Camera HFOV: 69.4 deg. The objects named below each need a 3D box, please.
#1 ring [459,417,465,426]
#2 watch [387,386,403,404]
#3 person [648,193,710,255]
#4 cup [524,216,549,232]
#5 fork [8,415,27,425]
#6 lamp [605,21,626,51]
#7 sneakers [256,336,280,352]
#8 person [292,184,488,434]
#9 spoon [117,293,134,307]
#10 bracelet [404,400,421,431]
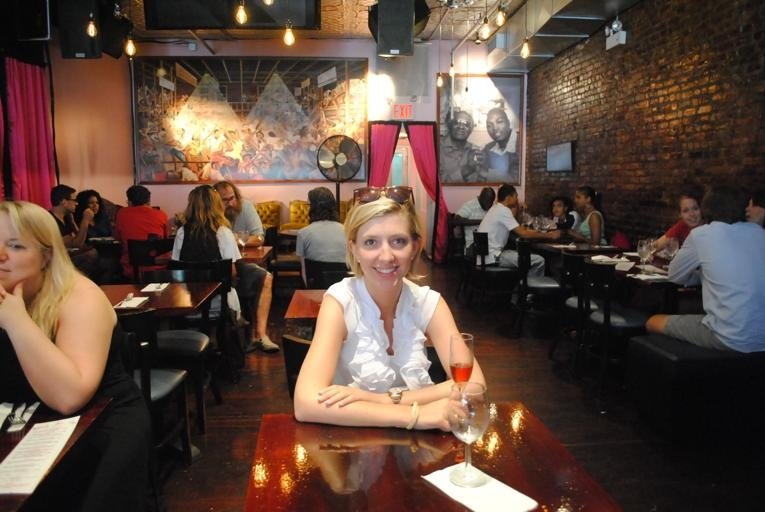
[{"bbox_3d":[0.335,0.682,2.297,0.034,0.032,0.007,2,14,10],"label":"ring"},{"bbox_3d":[0.064,0.675,2.679,0.074,0.058,0.073,-2,14,-6],"label":"watch"},{"bbox_3d":[2.932,-0.328,5.455,0.444,0.419,1.267,-12,21,26],"label":"person"},{"bbox_3d":[2.152,-0.452,7.660,0.228,0.255,0.239,1,9,0],"label":"cup"},{"bbox_3d":[-1.716,0.772,2.604,0.050,0.019,0.039,-1,-7,37],"label":"fork"},{"bbox_3d":[3.009,-2.877,7.122,0.268,0.352,0.667,5,15,21],"label":"lamp"},{"bbox_3d":[-1.163,0.889,5.582,0.124,0.105,0.253,11,-8,-37],"label":"sneakers"},{"bbox_3d":[-0.031,0.217,3.060,1.020,1.269,1.093,-1,2,-13],"label":"person"},{"bbox_3d":[-1.888,0.319,4.046,0.055,0.027,0.152,4,14,-5],"label":"spoon"},{"bbox_3d":[0.135,0.722,2.534,0.081,0.036,0.097,2,56,12],"label":"bracelet"}]
